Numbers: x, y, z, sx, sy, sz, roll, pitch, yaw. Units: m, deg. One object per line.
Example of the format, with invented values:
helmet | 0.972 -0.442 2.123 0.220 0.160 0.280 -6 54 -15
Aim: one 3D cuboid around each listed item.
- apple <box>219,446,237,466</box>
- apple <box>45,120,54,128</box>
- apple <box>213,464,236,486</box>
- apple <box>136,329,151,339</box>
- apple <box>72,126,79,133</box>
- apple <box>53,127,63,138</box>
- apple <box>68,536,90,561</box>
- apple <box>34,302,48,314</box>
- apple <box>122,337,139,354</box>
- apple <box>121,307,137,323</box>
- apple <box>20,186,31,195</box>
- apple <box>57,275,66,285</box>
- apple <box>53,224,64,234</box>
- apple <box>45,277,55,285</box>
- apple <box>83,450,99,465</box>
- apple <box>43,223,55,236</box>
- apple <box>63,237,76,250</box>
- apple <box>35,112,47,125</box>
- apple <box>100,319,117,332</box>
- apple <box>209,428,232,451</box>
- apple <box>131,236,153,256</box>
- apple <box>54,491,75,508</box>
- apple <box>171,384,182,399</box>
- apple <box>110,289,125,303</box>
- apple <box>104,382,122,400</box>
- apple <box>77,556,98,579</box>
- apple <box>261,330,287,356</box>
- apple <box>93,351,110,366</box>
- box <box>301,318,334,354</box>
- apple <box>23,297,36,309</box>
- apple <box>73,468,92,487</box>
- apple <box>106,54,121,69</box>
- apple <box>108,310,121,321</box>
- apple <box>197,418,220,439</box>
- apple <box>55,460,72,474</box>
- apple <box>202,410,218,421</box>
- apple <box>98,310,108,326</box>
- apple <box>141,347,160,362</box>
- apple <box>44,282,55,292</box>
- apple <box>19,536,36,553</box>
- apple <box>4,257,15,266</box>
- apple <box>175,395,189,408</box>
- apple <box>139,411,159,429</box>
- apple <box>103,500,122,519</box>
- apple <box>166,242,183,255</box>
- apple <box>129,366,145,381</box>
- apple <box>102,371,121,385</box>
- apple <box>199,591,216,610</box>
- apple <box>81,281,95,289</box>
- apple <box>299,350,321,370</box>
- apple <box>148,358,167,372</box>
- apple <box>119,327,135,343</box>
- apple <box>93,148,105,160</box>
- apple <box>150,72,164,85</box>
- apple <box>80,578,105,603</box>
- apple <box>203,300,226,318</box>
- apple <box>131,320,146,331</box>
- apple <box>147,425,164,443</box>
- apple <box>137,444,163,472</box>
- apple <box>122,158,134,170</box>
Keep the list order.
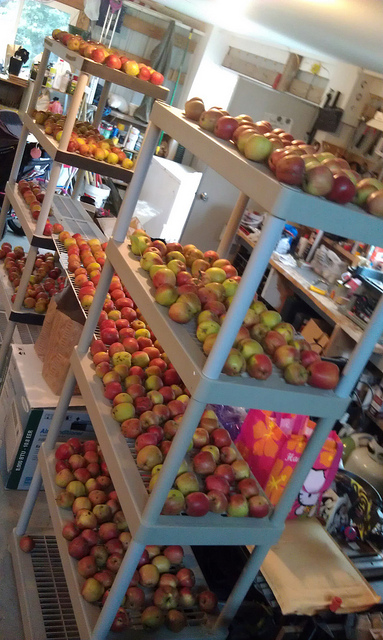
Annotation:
apple | 0.112 0.424 1.283 0.047 0.058 0.045 28 -14 -15
apple | -0.975 -1.345 2.808 0.039 0.060 0.179 21 19 -26
apple | 0.103 0.446 1.213 0.057 0.071 0.060 6 46 16
apple | -0.197 0.051 1.680 0.037 0.040 0.046 11 -5 -19
apple | -0.830 -1.374 2.953 0.042 0.034 0.151 23 18 -24
apple | -0.874 -1.241 2.730 0.068 0.064 0.069 -15 38 -36
apple | -0.355 0.725 1.300 0.064 0.072 0.063 9 10 -31
apple | -1.019 -0.086 2.771 0.059 0.062 0.057 1 30 30
apple | -0.225 0.106 1.596 0.054 0.055 0.056 17 50 33
apple | -0.275 -0.024 1.811 0.061 0.062 0.060 -11 11 -38
apple | -1.300 -1.027 3.211 0.072 0.064 0.062 -7 -1 18
apple | -0.958 -0.297 3.032 0.085 0.030 0.089 -11 44 -3
apple | -0.878 -0.607 2.728 0.062 0.062 0.060 -14 49 -7
apple | -1.039 -0.295 3.029 0.059 0.054 0.061 17 51 -32
apple | -0.396 0.543 1.630 0.044 0.045 0.044 12 54 -7
apple | -0.920 -0.592 2.694 0.083 0.069 0.070 9 21 38
apple | -0.767 -0.498 2.634 0.073 0.075 0.086 -16 -10 -38
apple | -1.091 -1.467 2.982 0.076 0.078 0.070 -28 4 -31
apple | -0.349 0.013 1.721 0.050 0.053 0.053 -12 22 14
apple | 0.095 0.383 1.334 0.052 0.055 0.052 15 3 16
apple | -0.159 -0.243 1.369 0.059 0.062 0.058 -2 1 22
apple | -0.444 0.638 1.456 0.056 0.049 0.051 -3 -21 -13
apple | -0.045 0.255 1.477 0.037 0.046 0.039 -9 40 25
apple | -0.365 -0.123 2.016 0.062 0.064 0.075 -14 45 13
apple | -0.253 0.225 1.319 0.051 0.051 0.053 -13 -20 14
apple | -0.319 0.764 1.272 0.052 0.052 0.055 18 50 -36
apple | 0.194 0.054 0.981 0.050 0.063 0.054 -9 -1 -25
apple | -0.326 0.139 1.495 0.046 0.047 0.055 0 2 13
box | 1.086 0.131 3.482 0.144 0.182 0.274 4 37 -27
apple | -1.094 -0.115 2.775 0.070 0.076 0.069 -25 18 -39
apple | -0.411 0.588 1.553 0.050 0.053 0.049 12 20 39
apple | -0.452 -1.507 2.393 0.077 0.086 0.082 -17 21 -22
apple | -0.339 -0.022 1.823 0.046 0.049 0.048 11 26 12
apple | 0.060 0.362 1.394 0.061 0.058 0.061 -4 -7 -42
apple | -0.496 0.569 1.595 0.044 0.047 0.043 8 -14 -4
apple | 0.064 0.344 1.486 0.048 0.028 0.049 4 10 9
apple | -0.398 -0.014 1.850 0.054 0.056 0.066 4 15 -12
apple | -0.155 0.119 1.594 0.050 0.049 0.058 21 13 12
apple | -1.024 -0.239 2.964 0.054 0.059 0.073 2 18 5
apple | -0.706 0.964 1.776 0.071 0.038 0.058 25 17 -17
apple | -1.454 -0.476 3.281 0.070 0.060 0.059 29 23 32
apple | -0.026 0.272 1.407 0.052 0.054 0.049 4 -8 1
apple | -0.125 0.294 1.227 0.041 0.047 0.045 11 3 18
apple | -0.278 0.672 1.482 0.072 0.075 0.088 11 -25 -9
apple | -0.056 -0.255 1.417 0.044 0.045 0.045 25 28 20
apple | -0.183 0.184 1.468 0.043 0.054 0.044 4 -24 35
apple | -0.266 0.190 1.371 0.048 0.042 0.041 -16 -12 21
apple | 0.055 0.999 1.457 0.058 0.053 0.046 27 16 -10
apple | -0.531 -0.170 2.107 0.054 0.048 0.045 -6 -15 24
apple | 0.292 0.093 1.021 0.044 0.047 0.047 11 -1 -11
apple | -0.128 0.166 1.542 0.046 0.046 0.048 10 44 -32
apple | -0.256 0.053 1.649 0.051 0.053 0.062 -9 -21 5
apple | -0.594 -1.072 2.642 0.067 0.084 0.070 15 -11 -8
apple | -0.224 -1.520 2.583 0.084 0.079 0.085 18 46 14
apple | -0.291 0.807 1.221 0.065 0.048 0.050 27 16 -11
apple | 0.059 -0.032 1.016 0.041 0.049 0.041 9 31 -6
apple | -0.218 0.019 1.724 0.043 0.043 0.043 -20 57 -21
apple | -0.102 0.335 1.208 0.042 0.043 0.041 20 -24 -13
apple | -0.104 0.375 1.100 0.089 0.052 0.055 19 19 -33
apple | -0.429 -1.056 2.758 0.063 0.064 0.062 26 35 9
